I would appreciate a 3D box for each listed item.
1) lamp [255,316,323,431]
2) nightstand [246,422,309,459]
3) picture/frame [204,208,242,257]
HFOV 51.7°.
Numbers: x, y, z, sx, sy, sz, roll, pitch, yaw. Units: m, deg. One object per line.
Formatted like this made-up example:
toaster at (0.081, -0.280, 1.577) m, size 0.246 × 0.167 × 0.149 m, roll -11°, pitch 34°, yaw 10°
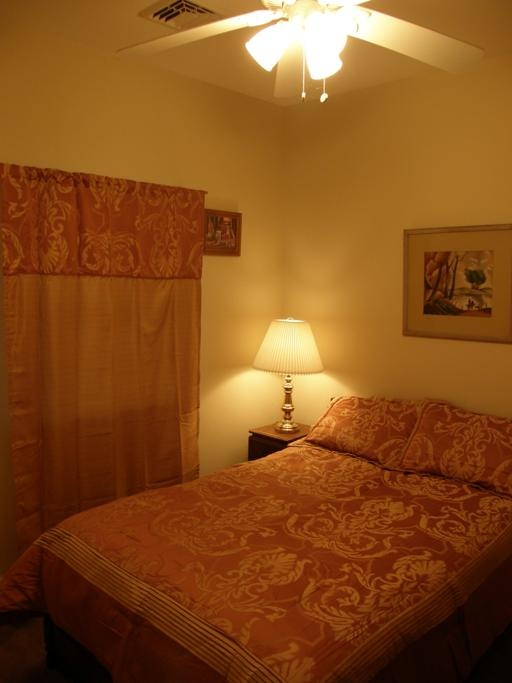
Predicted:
lamp at (0.223, 0.213, 3.415) m, size 0.411 × 0.703 × 0.439 m, roll 2°, pitch 5°, yaw 26°
nightstand at (0.134, 0.608, 3.338) m, size 0.267 × 0.266 × 0.255 m, roll -6°, pitch 12°, yaw -43°
picture/frame at (-0.218, -0.675, 3.256) m, size 0.030 × 0.264 × 0.303 m, roll 11°, pitch 14°, yaw 39°
